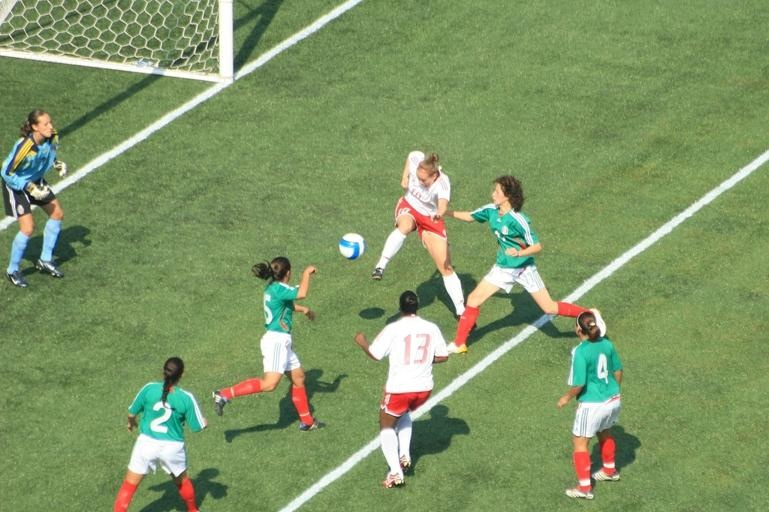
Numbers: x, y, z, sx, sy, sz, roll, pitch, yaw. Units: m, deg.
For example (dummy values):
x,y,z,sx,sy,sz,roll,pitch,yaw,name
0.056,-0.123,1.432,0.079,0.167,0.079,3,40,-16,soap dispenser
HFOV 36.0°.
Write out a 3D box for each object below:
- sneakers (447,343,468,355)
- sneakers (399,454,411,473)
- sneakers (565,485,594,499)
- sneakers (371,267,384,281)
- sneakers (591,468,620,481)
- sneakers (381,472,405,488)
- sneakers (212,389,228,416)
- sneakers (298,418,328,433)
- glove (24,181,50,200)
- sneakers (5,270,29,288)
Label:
x,y,z,sx,sy,sz,roll,pitch,yaw,name
1.227,1.563,19.998,0.368,0.176,0.145,2,12,6,sneakers
0.323,3.269,18.538,0.169,0.303,0.202,-2,17,-2,sneakers
3.050,3.718,18.423,0.489,0.217,0.174,4,59,10,sneakers
-0.109,0.282,20.161,0.128,0.128,0.264,4,23,5,sneakers
3.498,3.453,18.657,0.428,0.203,0.173,5,20,20,sneakers
0.121,3.529,18.451,0.234,0.136,0.317,9,6,-38,sneakers
-2.628,2.324,18.810,0.212,0.518,0.183,-2,15,5,sneakers
-1.168,2.750,19.165,0.438,0.205,0.166,-8,30,-16,sneakers
-5.921,-1.160,20.133,0.299,0.238,0.296,30,57,16,glove
-6.361,0.395,20.415,0.429,0.185,0.173,40,46,7,sneakers
